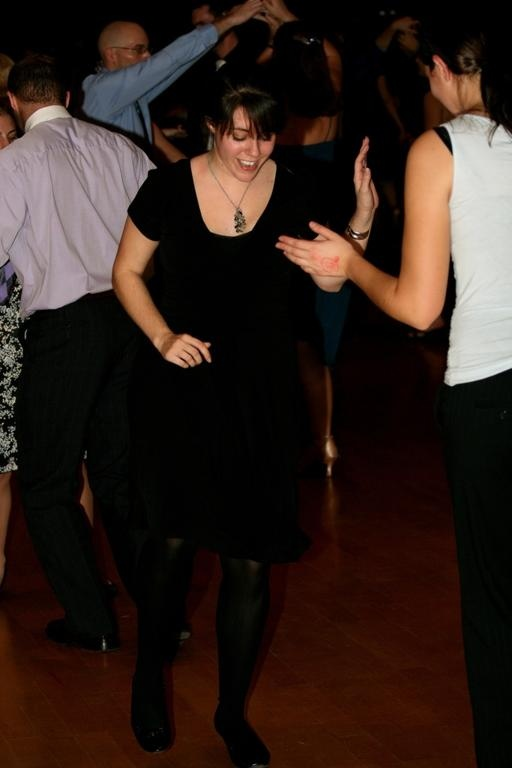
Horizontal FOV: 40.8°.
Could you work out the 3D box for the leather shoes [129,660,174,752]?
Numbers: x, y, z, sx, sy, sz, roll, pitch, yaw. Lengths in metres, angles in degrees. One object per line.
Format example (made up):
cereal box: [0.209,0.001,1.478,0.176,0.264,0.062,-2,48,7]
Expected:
leather shoes: [-0.250,0.753,1.638,0.074,0.069,0.215,1,46,-6]

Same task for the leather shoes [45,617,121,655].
leather shoes: [-0.548,0.779,2.154,0.253,0.083,0.091,9,14,25]
